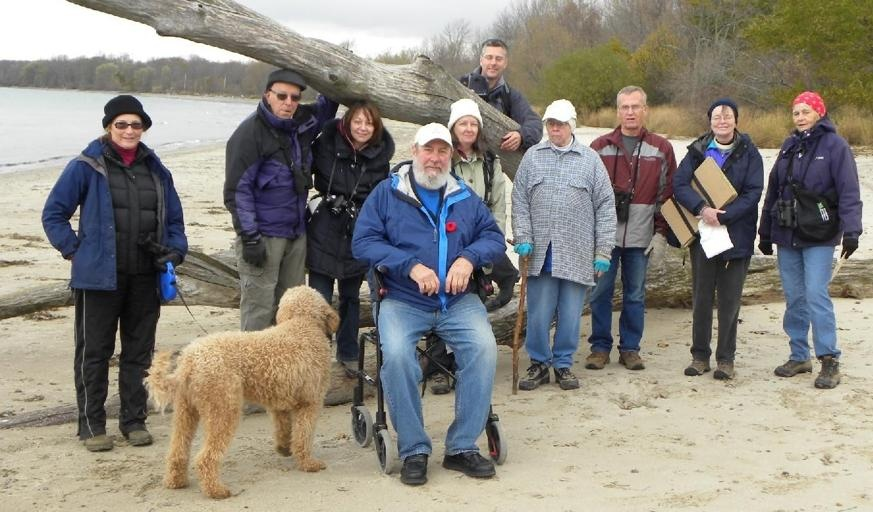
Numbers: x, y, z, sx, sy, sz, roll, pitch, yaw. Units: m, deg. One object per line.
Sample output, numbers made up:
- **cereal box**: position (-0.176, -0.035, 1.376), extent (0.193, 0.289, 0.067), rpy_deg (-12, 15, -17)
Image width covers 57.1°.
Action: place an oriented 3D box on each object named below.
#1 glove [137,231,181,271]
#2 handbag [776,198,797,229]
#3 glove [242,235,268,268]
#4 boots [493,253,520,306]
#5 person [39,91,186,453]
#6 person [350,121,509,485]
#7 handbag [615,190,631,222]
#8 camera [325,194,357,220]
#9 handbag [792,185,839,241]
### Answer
- **glove**: position (-3.190, -0.036, 9.158), extent (0.476, 0.341, 0.201), rpy_deg (36, -29, -26)
- **handbag**: position (4.413, -0.543, 10.161), extent (0.119, 0.319, 0.325), rpy_deg (2, -9, -19)
- **glove**: position (-2.184, -0.046, 9.626), extent (0.281, 0.365, 0.191), rpy_deg (-3, 0, -5)
- **boots**: position (0.901, 0.344, 10.474), extent (0.361, 0.757, 0.252), rpy_deg (-21, 48, -23)
- **person**: position (-3.627, 0.175, 9.170), extent (1.405, 3.984, 0.688), rpy_deg (-4, 9, -26)
- **person**: position (-0.044, 0.453, 8.884), extent (1.574, 3.792, 1.144), rpy_deg (0, 8, 3)
- **handbag**: position (2.456, -0.644, 10.573), extent (0.212, 0.426, 0.099), rpy_deg (1, 8, 11)
- **camera**: position (-1.155, -0.603, 9.873), extent (0.400, 0.250, 0.180), rpy_deg (-7, 6, -3)
- **handbag**: position (4.757, -0.529, 10.175), extent (0.629, 0.842, 0.445), rpy_deg (-4, 13, 16)
